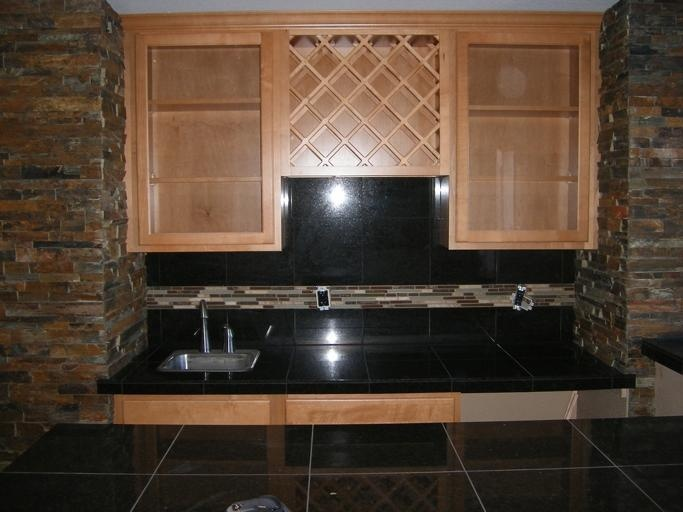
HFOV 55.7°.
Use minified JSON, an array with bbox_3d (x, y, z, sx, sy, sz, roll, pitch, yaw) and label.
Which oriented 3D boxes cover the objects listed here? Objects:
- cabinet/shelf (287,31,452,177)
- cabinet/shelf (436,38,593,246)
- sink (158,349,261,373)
[{"bbox_3d":[0.147,-0.787,3.275,0.969,0.649,0.253,0,5,-2],"label":"cabinet/shelf"},{"bbox_3d":[0.870,-0.556,3.213,0.814,0.963,0.268,-3,8,-9],"label":"cabinet/shelf"},{"bbox_3d":[-0.681,0.550,3.339,0.506,0.091,0.340,-2,5,-6],"label":"sink"}]
